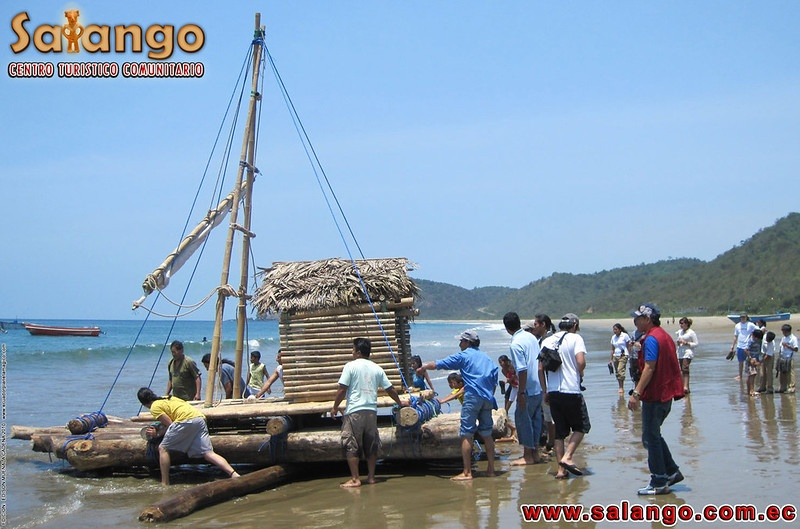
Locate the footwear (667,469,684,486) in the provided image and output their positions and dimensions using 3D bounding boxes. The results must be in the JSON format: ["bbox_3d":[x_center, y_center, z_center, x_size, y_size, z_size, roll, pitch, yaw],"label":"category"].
[{"bbox_3d":[4.764,3.626,11.871,0.164,0.198,0.501,2,19,34],"label":"footwear"}]

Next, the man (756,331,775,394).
[{"bbox_3d":[10.254,2.732,19.405,0.637,1.752,0.563,3,0,1],"label":"man"}]

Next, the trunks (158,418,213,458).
[{"bbox_3d":[-4.165,3.287,13.358,1.206,0.944,0.690,1,-1,-7],"label":"trunks"}]

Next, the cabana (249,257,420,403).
[{"bbox_3d":[-1.198,1.372,15.424,3.396,2.706,2.970,0,-10,0],"label":"cabana"}]

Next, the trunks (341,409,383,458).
[{"bbox_3d":[-0.741,3.125,12.745,0.691,0.933,0.492,-2,-7,-4],"label":"trunks"}]

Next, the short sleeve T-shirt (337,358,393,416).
[{"bbox_3d":[-0.697,2.273,12.903,1.249,1.121,0.573,-1,-4,-6],"label":"short sleeve T-shirt"}]

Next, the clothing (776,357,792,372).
[{"bbox_3d":[10.823,2.808,19.394,0.369,0.400,0.261,-6,-8,28],"label":"clothing"}]

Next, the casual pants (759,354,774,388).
[{"bbox_3d":[10.292,3.020,19.346,0.221,0.747,0.204,16,-12,-40],"label":"casual pants"}]

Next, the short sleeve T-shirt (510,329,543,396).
[{"bbox_3d":[2.421,1.846,13.143,0.749,1.271,0.380,4,-10,-44],"label":"short sleeve T-shirt"}]

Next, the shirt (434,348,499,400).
[{"bbox_3d":[1.328,2.037,13.068,0.969,0.903,1.015,-12,-12,34],"label":"shirt"}]

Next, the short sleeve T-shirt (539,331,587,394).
[{"bbox_3d":[2.969,1.786,12.712,1.153,1.392,0.731,-2,-4,17],"label":"short sleeve T-shirt"}]

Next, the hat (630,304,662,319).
[{"bbox_3d":[4.146,0.763,11.625,0.348,0.207,0.252,-1,-4,17],"label":"hat"}]

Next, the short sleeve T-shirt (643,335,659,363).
[{"bbox_3d":[4.115,1.364,11.280,0.225,0.411,0.109,-2,-7,-1],"label":"short sleeve T-shirt"}]

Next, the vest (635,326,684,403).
[{"bbox_3d":[4.387,1.620,11.657,0.713,1.225,1.138,-6,-2,34],"label":"vest"}]

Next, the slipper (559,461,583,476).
[{"bbox_3d":[3.095,3.702,12.557,0.416,0.166,0.153,27,9,-12],"label":"slipper"}]

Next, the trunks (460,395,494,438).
[{"bbox_3d":[1.417,2.732,12.900,0.759,0.932,0.494,0,-3,-24],"label":"trunks"}]
